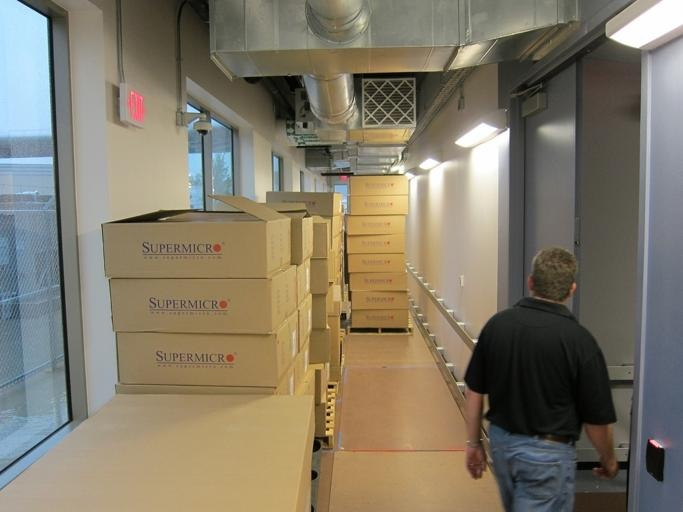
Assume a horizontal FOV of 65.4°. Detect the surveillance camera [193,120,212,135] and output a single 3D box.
[{"bbox_3d":[-1.039,-0.956,3.997,0.101,0.084,0.100,-4,8,-43],"label":"surveillance camera"}]
